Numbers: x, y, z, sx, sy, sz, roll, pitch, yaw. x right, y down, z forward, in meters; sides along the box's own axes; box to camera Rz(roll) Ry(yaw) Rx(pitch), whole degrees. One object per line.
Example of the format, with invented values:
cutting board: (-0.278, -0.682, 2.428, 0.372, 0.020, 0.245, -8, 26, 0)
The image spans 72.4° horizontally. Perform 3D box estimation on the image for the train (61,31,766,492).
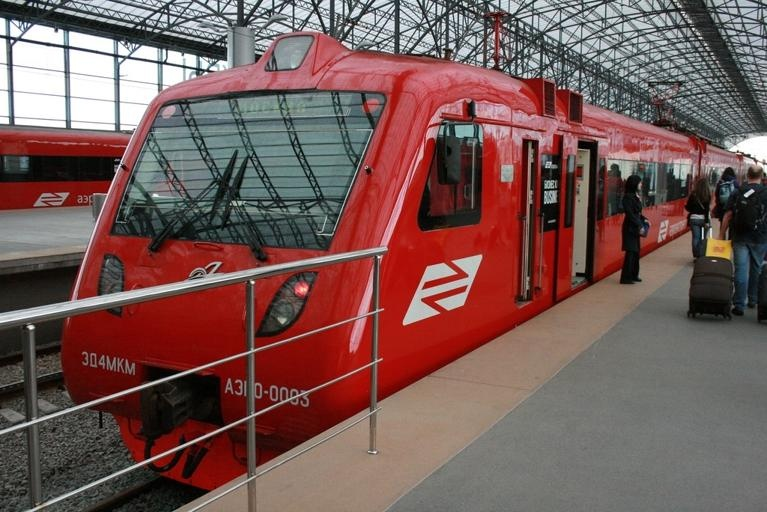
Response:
train: (0.043, -0.235, 6.190, 6.248, 4.274, 2.659, -9, 16, -43)

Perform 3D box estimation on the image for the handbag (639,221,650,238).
handbag: (5.018, -0.503, 10.090, 0.299, 0.325, 0.497, 3, 5, 26)
